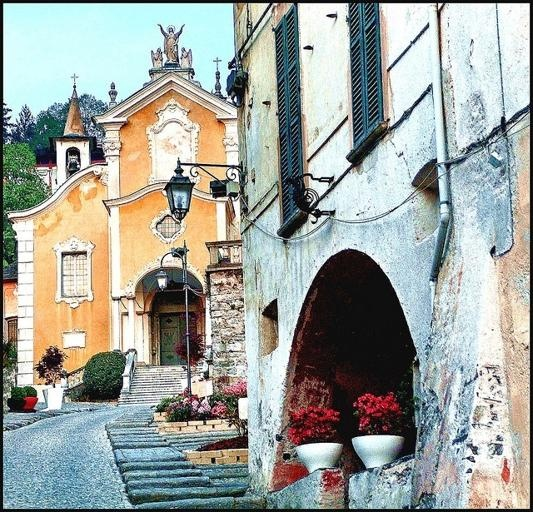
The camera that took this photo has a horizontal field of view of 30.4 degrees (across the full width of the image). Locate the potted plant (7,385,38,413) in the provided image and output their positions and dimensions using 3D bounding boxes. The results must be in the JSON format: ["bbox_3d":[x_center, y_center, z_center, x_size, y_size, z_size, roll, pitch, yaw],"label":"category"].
[{"bbox_3d":[-6.879,3.959,27.386,0.773,0.786,0.744,-2,-5,44],"label":"potted plant"}]

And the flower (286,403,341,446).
[{"bbox_3d":[0.421,1.535,8.979,0.468,0.341,0.323,-2,-13,10],"label":"flower"}]

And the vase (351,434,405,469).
[{"bbox_3d":[0.856,1.496,7.766,0.275,0.207,0.296,4,-14,-18],"label":"vase"}]

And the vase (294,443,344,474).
[{"bbox_3d":[0.468,1.784,8.807,0.406,0.248,0.286,-1,-13,5],"label":"vase"}]

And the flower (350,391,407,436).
[{"bbox_3d":[0.936,1.257,7.900,0.385,0.344,0.402,0,-13,2],"label":"flower"}]
